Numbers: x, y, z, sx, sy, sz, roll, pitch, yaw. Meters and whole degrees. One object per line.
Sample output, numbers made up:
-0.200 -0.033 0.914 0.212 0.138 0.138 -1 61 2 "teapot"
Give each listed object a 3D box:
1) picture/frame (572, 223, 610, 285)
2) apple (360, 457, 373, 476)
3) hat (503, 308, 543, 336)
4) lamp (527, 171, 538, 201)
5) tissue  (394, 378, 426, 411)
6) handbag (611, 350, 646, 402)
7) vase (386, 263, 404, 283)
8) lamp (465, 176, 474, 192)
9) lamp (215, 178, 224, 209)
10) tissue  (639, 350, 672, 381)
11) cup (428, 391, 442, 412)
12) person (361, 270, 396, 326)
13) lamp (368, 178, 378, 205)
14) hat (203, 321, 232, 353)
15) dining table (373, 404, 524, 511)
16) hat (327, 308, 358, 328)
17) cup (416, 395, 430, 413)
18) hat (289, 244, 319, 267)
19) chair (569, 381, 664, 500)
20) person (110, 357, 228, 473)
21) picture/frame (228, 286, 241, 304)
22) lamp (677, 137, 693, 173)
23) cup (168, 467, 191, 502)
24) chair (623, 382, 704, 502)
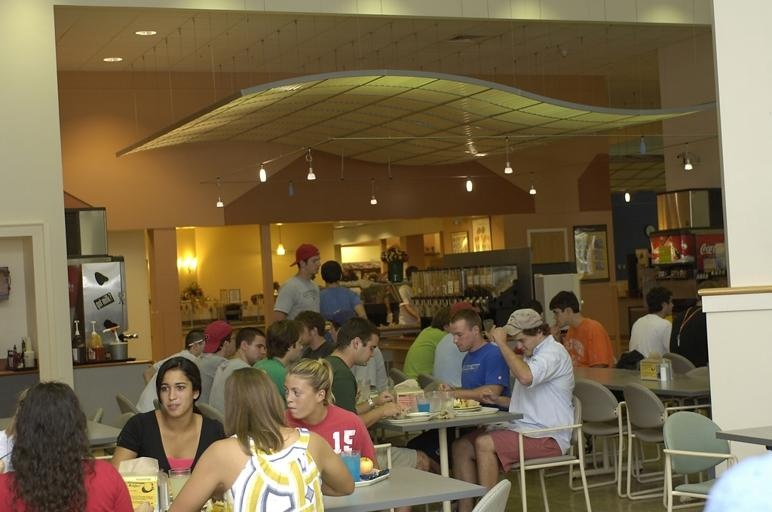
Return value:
4.480 -0.077 14.943 0.876 1.185 0.241 -4 -1 -19 "picture/frame"
-0.115 1.200 3.949 0.082 0.082 0.081 0 -2 -40 "apple"
1.157 0.552 5.847 0.299 0.144 0.199 -4 1 -11 "hat"
3.118 -1.519 14.713 0.175 0.578 0.309 -4 -1 16 "lamp"
0.186 1.112 5.605 0.148 0.097 0.251 -1 24 -10 "tissue "
2.732 1.322 7.787 0.440 0.572 0.229 3 1 36 "handbag"
0.198 0.326 14.347 0.369 0.369 0.535 -1 -24 3 "vase"
1.603 -1.424 13.313 0.267 0.364 0.076 -2 -7 3 "lamp"
-3.052 -1.166 12.642 0.154 0.396 0.208 -4 -1 -13 "lamp"
2.624 1.075 6.738 0.227 0.222 0.297 -3 4 -43 "tissue "
0.400 1.182 5.581 0.112 0.124 0.111 0 -5 0 "cup"
-0.051 0.845 12.673 0.718 0.700 0.184 -3 -17 21 "person"
-0.272 -1.274 13.746 0.159 0.447 0.218 -4 -1 13 "lamp"
-1.665 0.805 6.818 0.214 0.348 0.155 17 -28 15 "hat"
0.480 1.434 5.383 0.795 0.766 0.784 1 -8 -28 "dining table"
-0.494 0.669 7.763 0.389 0.213 0.278 3 4 22 "hat"
0.291 1.180 5.518 0.095 0.103 0.091 -1 -7 0 "cup"
-0.982 -0.016 8.186 0.298 0.174 0.213 -10 6 18 "hat"
2.204 1.664 6.438 0.667 1.059 0.659 -4 -8 -10 "chair"
-1.319 1.131 4.199 0.720 0.938 0.507 -1 -1 -4 "person"
-3.471 0.898 15.822 0.381 0.357 0.258 2 -12 -22 "picture/frame"
5.170 -1.729 11.964 0.269 0.526 0.753 -5 -2 24 "lamp"
-1.046 1.128 3.446 0.137 0.152 0.135 0 -3 0 "cup"
2.532 1.618 6.232 0.682 1.015 0.575 -5 -1 -20 "chair"
